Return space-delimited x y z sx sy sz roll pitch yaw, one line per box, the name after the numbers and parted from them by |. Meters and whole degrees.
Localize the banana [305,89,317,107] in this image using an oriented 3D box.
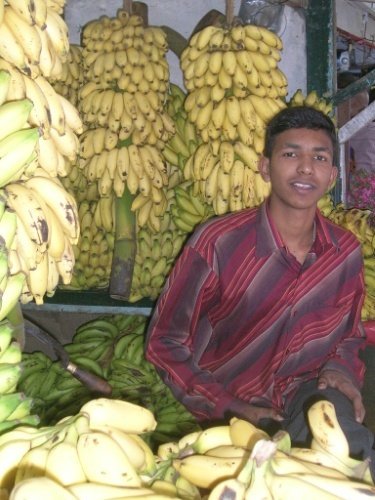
0.599 -0.733 2.396 0.048 0.089 0.091 12 8 26 | banana
